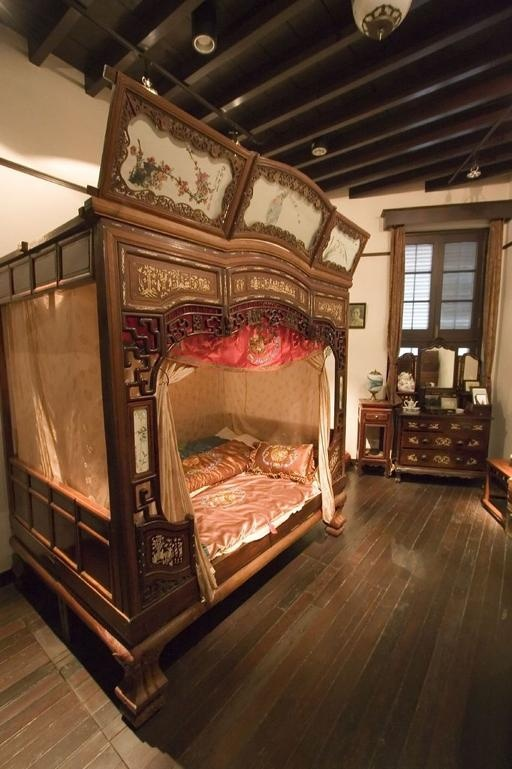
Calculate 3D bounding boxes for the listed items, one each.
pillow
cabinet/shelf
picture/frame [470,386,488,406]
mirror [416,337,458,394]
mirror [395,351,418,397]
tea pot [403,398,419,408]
[{"bbox_3d":[0.227,0.662,4.111,0.429,0.319,0.146,6,-19,38],"label":"pillow"},{"bbox_3d":[2.019,0.554,5.317,0.965,0.898,0.662,1,1,21],"label":"cabinet/shelf"},{"bbox_3d":[2.296,0.128,4.996,0.166,0.139,0.278,4,12,23],"label":"picture/frame"},{"bbox_3d":[2.023,-0.206,5.387,0.540,0.826,0.056,3,11,23],"label":"mirror"},{"bbox_3d":[1.687,-0.109,5.466,0.208,0.487,0.205,3,11,19],"label":"mirror"},{"bbox_3d":[1.711,0.213,5.364,0.153,0.165,0.101,2,7,20],"label":"tea pot"}]
